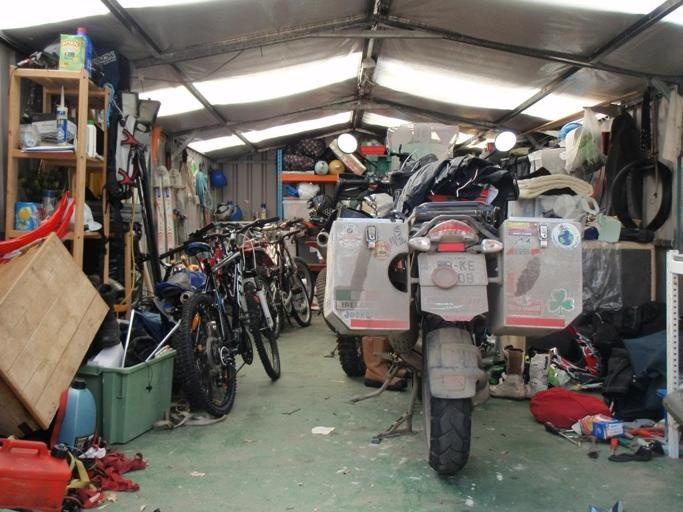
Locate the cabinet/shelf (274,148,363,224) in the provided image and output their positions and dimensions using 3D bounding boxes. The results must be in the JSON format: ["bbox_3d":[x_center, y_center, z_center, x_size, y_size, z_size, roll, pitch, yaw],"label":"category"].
[{"bbox_3d":[-0.430,-1.310,10.890,2.212,1.499,1.184,0,-5,-3],"label":"cabinet/shelf"}]

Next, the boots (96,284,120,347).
[{"bbox_3d":[-1.680,0.459,4.244,0.146,0.294,0.425,-7,21,-10],"label":"boots"}]

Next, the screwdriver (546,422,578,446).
[{"bbox_3d":[1.561,1.282,4.192,0.053,0.068,0.286,-4,10,-11],"label":"screwdriver"}]

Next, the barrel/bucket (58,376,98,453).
[{"bbox_3d":[-1.665,1.017,3.714,0.187,0.410,0.244,1,9,8],"label":"barrel/bucket"}]

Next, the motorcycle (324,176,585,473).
[{"bbox_3d":[0.793,0.192,4.440,1.494,1.688,2.728,-1,6,8],"label":"motorcycle"}]

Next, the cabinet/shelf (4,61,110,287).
[{"bbox_3d":[-2.278,-0.638,4.780,0.766,1.739,1.176,-2,9,-15],"label":"cabinet/shelf"}]

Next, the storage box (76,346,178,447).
[{"bbox_3d":[-1.652,0.991,4.283,0.612,0.556,0.892,8,-1,7],"label":"storage box"}]

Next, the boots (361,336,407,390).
[{"bbox_3d":[0.377,0.927,5.152,0.417,0.469,0.230,3,16,22],"label":"boots"}]
